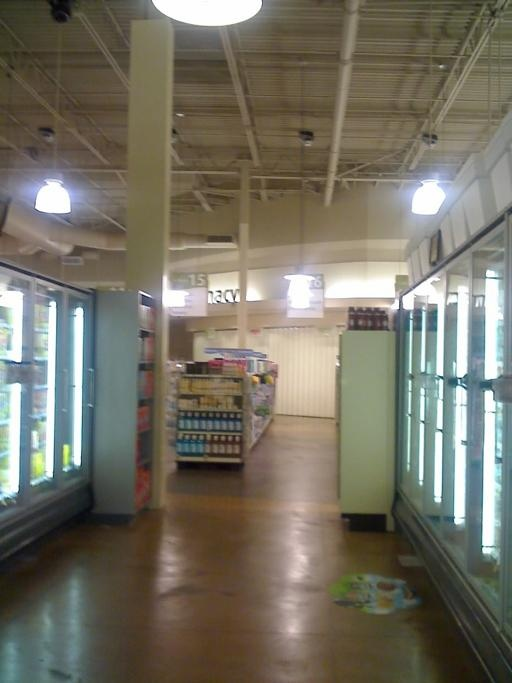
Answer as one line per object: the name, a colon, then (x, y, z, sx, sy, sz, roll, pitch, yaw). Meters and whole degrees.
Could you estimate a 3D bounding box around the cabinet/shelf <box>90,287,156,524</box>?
cabinet/shelf: (-1.371, 0.664, 6.041, 0.479, 2.402, 0.705, -1, -4, 26)
